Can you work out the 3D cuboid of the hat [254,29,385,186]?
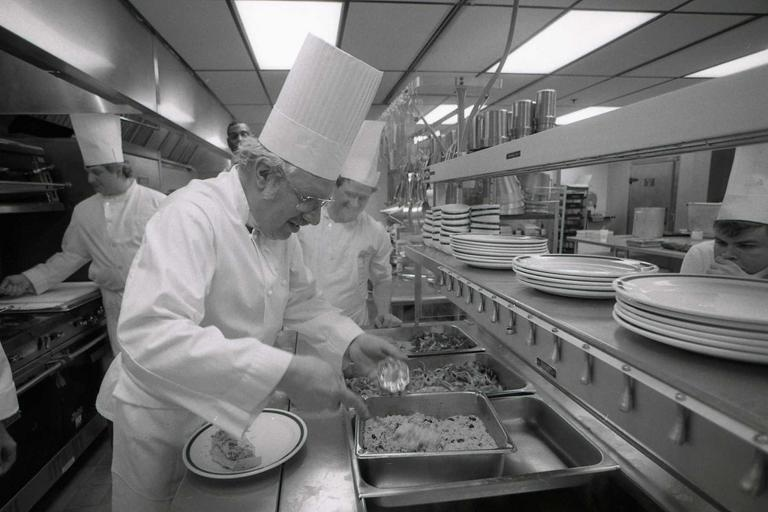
[{"bbox_3d":[-0.252,-0.599,1.874,0.390,0.428,0.390,27,17,-5],"label":"hat"}]

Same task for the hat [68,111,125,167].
[{"bbox_3d":[-1.920,-0.789,3.099,0.328,0.382,0.361,9,18,31],"label":"hat"}]

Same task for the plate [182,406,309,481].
[{"bbox_3d":[-0.497,0.672,1.661,0.407,0.055,0.413,2,8,7],"label":"plate"}]

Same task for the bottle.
[{"bbox_3d":[0.593,-0.668,2.318,0.204,0.254,0.568,-1,8,-23],"label":"bottle"}]

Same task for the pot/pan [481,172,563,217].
[{"bbox_3d":[0.858,-0.390,2.798,0.357,0.186,0.364,1,0,38],"label":"pot/pan"}]

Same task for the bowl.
[{"bbox_3d":[0.398,-0.137,2.367,0.323,0.162,0.285,1,4,37],"label":"bowl"}]
